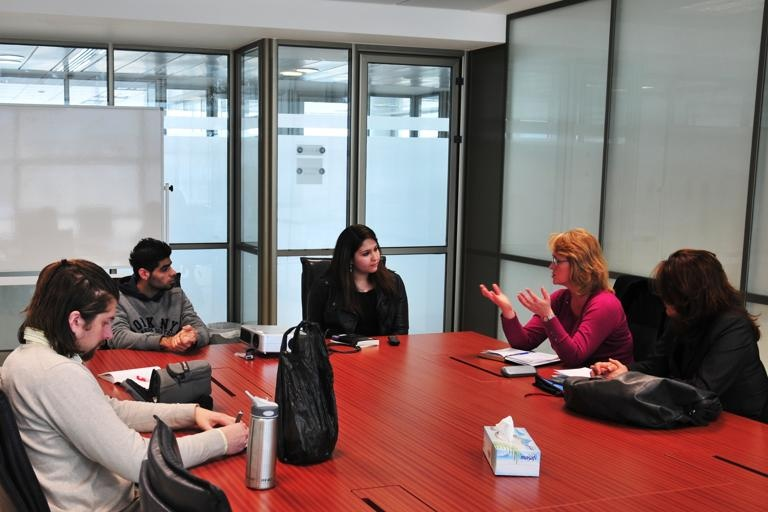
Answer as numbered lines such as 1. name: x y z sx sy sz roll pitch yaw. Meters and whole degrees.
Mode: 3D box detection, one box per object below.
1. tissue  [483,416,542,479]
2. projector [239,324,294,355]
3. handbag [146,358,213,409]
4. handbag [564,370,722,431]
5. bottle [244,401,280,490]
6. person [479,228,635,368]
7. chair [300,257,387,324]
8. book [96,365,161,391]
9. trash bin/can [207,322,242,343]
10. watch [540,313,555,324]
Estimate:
1. tissue : 0.493 0.739 2.137 0.177 0.177 0.190 -2 7 -1
2. projector: -0.695 0.493 3.176 0.177 0.085 0.323 1 1 -25
3. handbag: -0.964 0.631 2.609 0.264 0.253 0.192 -13 12 -30
4. handbag: 1.212 0.649 2.536 0.401 0.131 0.340 1 -1 -19
5. bottle: -0.443 0.664 1.947 0.134 0.325 0.090 -1 8 9
6. person: 1.131 0.347 4.060 1.037 1.420 0.742 1 -6 -15
7. chair: -0.368 0.278 4.529 0.526 0.693 0.567 1 -2 -21
8. book: -1.332 0.631 2.863 0.205 0.030 0.217 1 3 -42
9. trash bin/can: -1.342 0.648 4.580 0.246 0.188 0.258 1 -3 -21
10. watch: 1.003 0.381 3.369 0.064 0.042 0.067 -7 -15 -17
